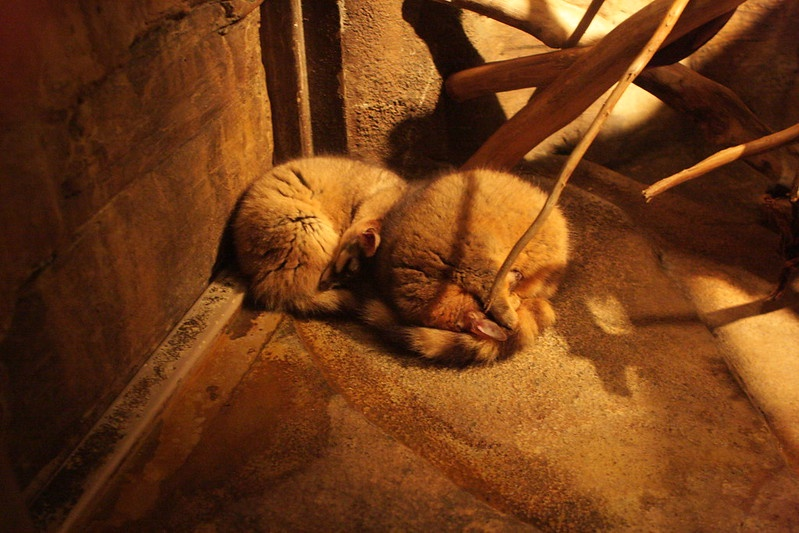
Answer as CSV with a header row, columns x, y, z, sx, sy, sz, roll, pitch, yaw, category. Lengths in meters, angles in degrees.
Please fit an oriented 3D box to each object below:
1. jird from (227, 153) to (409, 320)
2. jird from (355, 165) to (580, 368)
x,y,z,sx,sy,sz,roll,pitch,yaw,category
-0.387,-0.254,3.536,0.996,0.296,0.824,10,69,15,jird
0.355,0.001,3.282,0.861,0.658,0.865,32,43,25,jird
